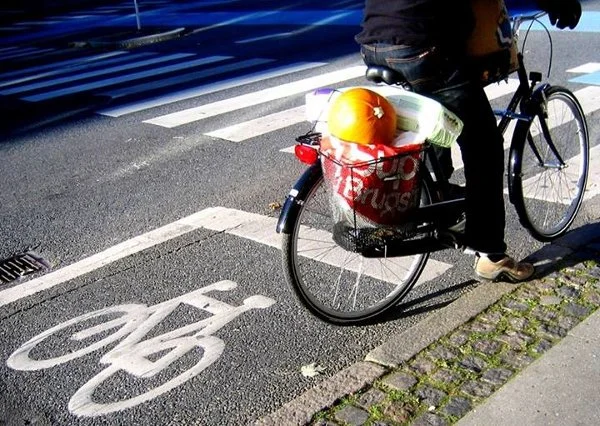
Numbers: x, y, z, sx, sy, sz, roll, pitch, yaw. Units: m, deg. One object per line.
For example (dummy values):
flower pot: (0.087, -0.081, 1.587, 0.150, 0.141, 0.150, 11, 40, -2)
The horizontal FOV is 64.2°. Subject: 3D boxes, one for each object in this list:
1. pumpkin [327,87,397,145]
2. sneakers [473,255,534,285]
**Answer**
pumpkin: (0.377, -0.561, 2.912, 0.377, 0.347, 0.352, -9, 30, 9)
sneakers: (1.472, 0.393, 3.598, 0.447, 0.198, 0.173, -4, 45, 0)
